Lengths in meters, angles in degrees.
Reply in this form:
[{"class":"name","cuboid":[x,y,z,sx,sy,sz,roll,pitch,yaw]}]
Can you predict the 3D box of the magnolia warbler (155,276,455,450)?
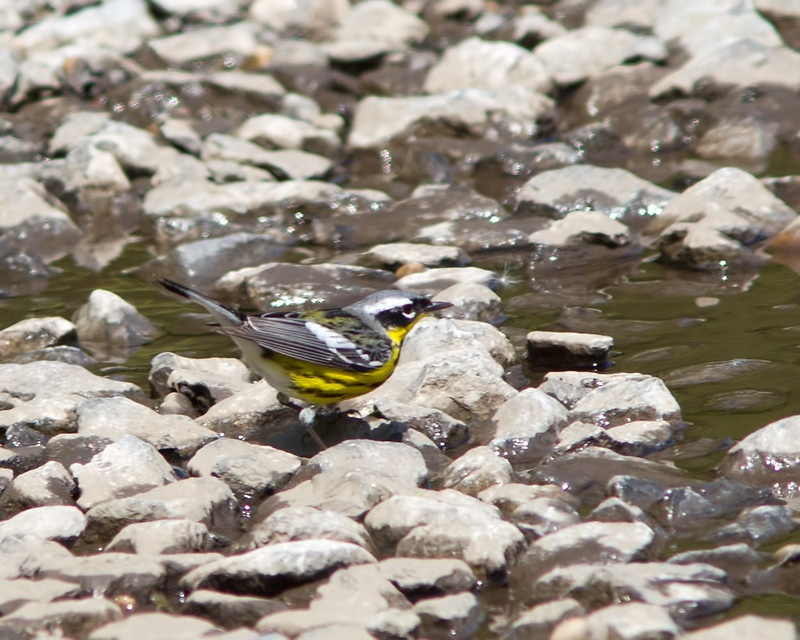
[{"class":"magnolia warbler","cuboid":[-0.534,0.195,6.541,3.269,0.802,0.930,7,82,-15]}]
